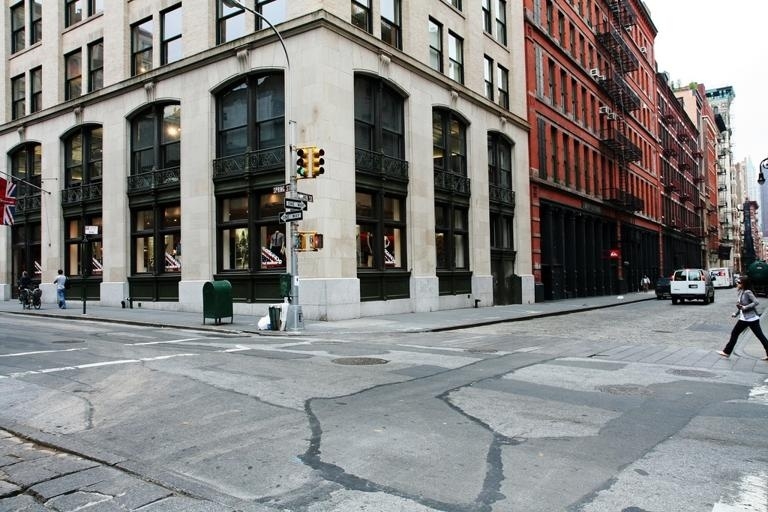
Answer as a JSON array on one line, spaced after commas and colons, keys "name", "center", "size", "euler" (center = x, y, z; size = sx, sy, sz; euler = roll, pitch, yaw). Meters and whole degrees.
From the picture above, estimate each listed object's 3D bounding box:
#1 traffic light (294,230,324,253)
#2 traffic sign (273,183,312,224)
[{"name": "traffic light", "center": [-2.833, -0.602, 25.818], "size": [0.993, 0.690, 0.358], "euler": [-3, -7, 1]}, {"name": "traffic sign", "center": [-3.463, -1.952, 26.542], "size": [1.842, 1.580, 1.685], "euler": [-1, -7, -31]}]
